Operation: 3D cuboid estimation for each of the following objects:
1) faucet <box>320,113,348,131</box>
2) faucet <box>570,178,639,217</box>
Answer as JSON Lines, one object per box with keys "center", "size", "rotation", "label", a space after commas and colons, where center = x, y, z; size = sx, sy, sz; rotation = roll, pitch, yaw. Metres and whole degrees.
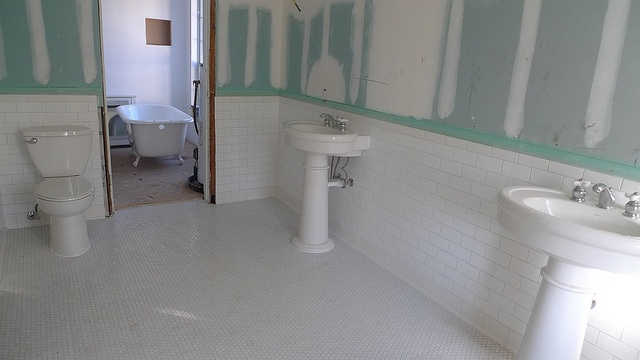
{"center": [0.161, -0.681, 4.428], "size": [0.467, 0.164, 0.140], "rotation": [25, 36, 38], "label": "faucet"}
{"center": [2.121, 0.125, 2.882], "size": [0.449, 0.195, 0.225], "rotation": [16, 25, 34], "label": "faucet"}
